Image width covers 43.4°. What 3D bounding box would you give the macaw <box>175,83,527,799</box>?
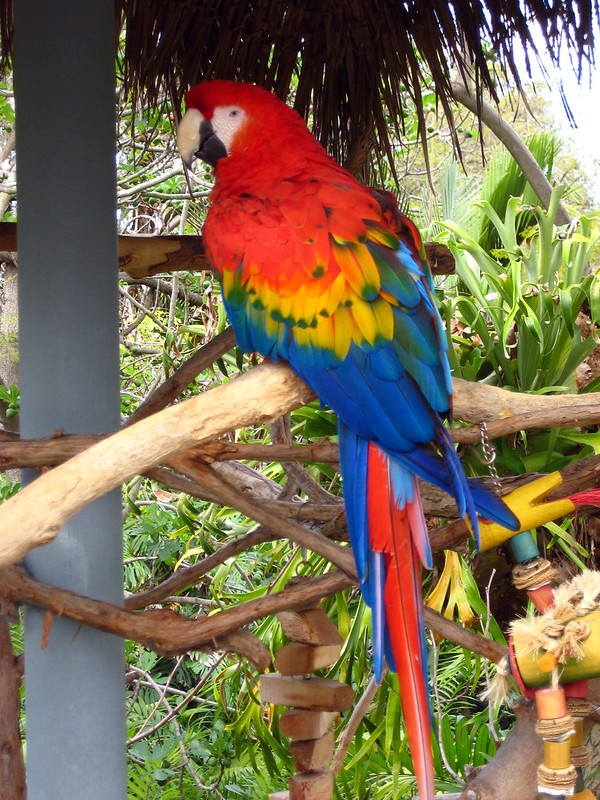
[{"bbox_3d":[0.058,-0.080,1.201,0.375,1.083,0.643,-7,0,-6],"label":"macaw"}]
